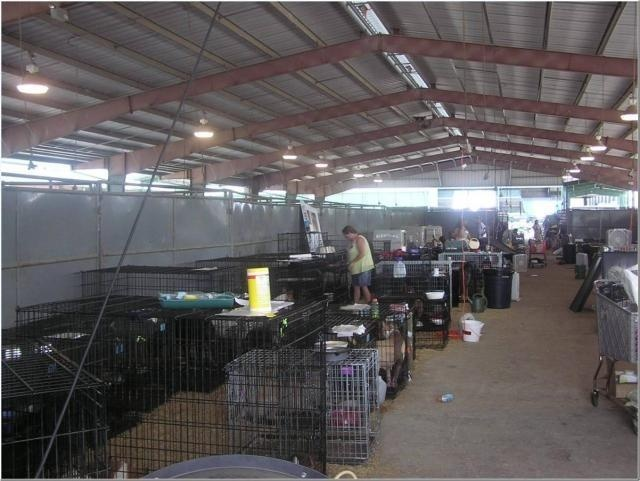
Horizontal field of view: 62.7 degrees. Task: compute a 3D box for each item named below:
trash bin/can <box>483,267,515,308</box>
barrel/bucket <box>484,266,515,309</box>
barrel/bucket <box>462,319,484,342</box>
[{"bbox_3d":[4.101,1.128,12.235,0.764,0.877,0.776,-3,-9,28],"label":"trash bin/can"},{"bbox_3d":[4.100,1.084,12.111,0.617,0.687,0.634,0,0,0],"label":"barrel/bucket"},{"bbox_3d":[2.592,1.506,8.954,0.325,0.344,0.380,-2,3,13],"label":"barrel/bucket"}]
